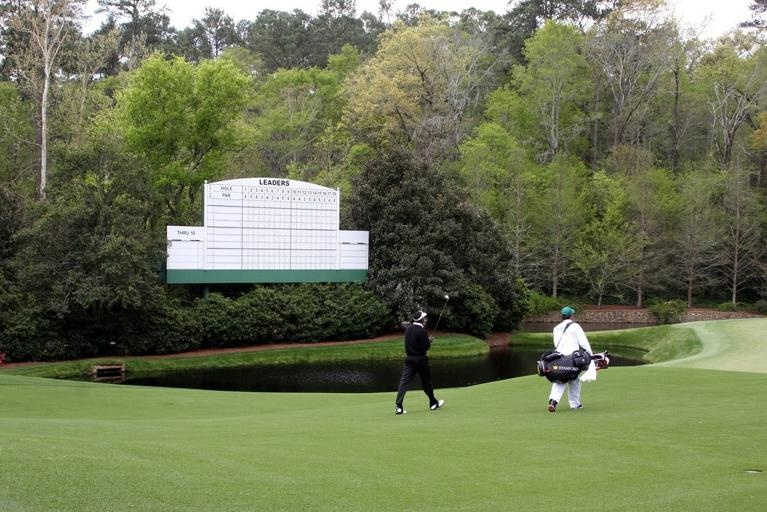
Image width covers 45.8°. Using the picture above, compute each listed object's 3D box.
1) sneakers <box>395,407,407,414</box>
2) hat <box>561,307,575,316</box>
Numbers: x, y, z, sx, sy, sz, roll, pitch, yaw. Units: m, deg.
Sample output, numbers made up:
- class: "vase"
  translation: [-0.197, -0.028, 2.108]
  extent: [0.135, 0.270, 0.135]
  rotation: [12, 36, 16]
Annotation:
- class: "sneakers"
  translation: [0.891, 8.078, 47.162]
  extent: [0.227, 0.282, 0.679]
  rotation: [2, 2, 26]
- class: "hat"
  translation: [9.465, 2.841, 46.238]
  extent: [0.551, 0.412, 0.794]
  rotation: [9, 26, 35]
